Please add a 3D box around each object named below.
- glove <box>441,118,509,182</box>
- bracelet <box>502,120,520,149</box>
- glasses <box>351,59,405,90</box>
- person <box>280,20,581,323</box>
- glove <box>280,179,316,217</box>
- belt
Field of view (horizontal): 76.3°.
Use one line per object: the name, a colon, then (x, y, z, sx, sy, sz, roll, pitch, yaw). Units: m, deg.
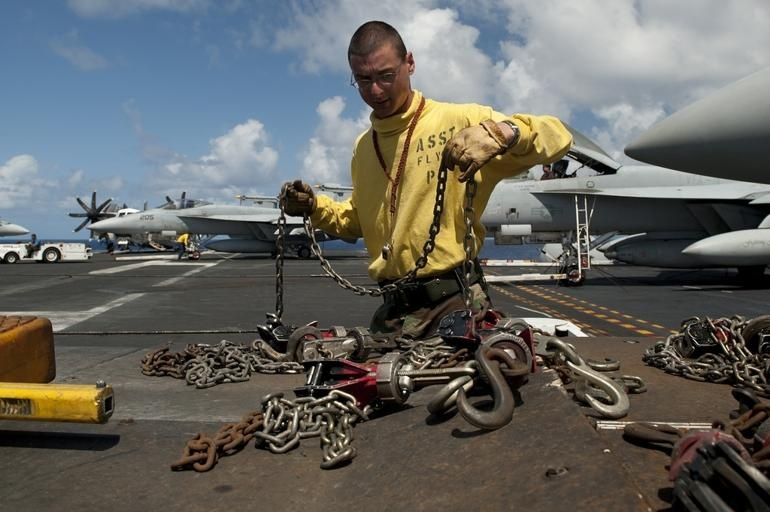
glove: (0.466, -0.494, 2.349, 0.385, 0.118, 0.242, -20, 51, -9)
bracelet: (0.620, -0.595, 2.386, 0.069, 0.116, 0.123, 3, 7, -14)
glasses: (-0.026, -1.005, 2.683, 0.299, 0.181, 0.104, -5, 5, -6)
person: (0.166, -0.435, 2.878, 1.572, 1.740, 0.744, 0, 8, 44)
glove: (-0.588, -0.400, 3.227, 0.293, 0.089, 0.218, 28, 31, 22)
belt: (0.303, 0.190, 2.910, 0.457, 0.326, 0.151, -14, 47, 12)
